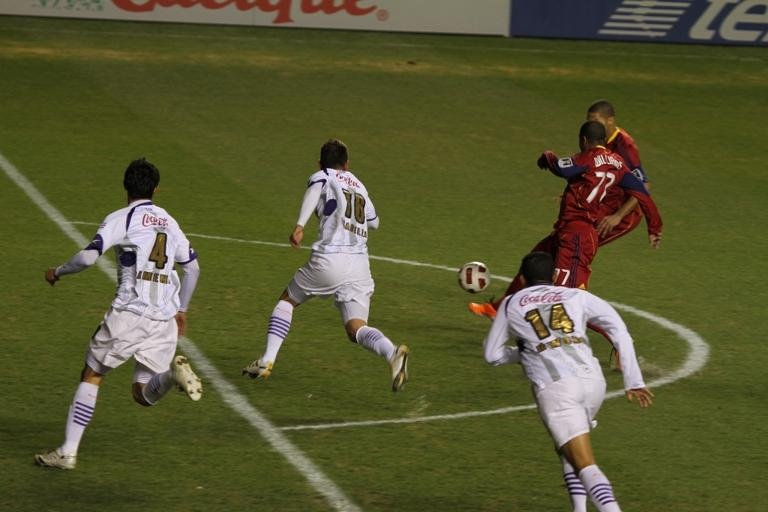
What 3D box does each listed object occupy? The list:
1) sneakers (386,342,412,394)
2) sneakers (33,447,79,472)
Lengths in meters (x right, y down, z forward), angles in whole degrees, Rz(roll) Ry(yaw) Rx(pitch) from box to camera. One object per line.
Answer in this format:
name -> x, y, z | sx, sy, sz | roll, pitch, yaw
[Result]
sneakers -> 0.190, 1.242, 16.875 | 0.304, 0.448, 0.236 | 9, 3, 43
sneakers -> -3.454, 2.152, 16.036 | 0.588, 0.180, 0.168 | 6, 12, -1
